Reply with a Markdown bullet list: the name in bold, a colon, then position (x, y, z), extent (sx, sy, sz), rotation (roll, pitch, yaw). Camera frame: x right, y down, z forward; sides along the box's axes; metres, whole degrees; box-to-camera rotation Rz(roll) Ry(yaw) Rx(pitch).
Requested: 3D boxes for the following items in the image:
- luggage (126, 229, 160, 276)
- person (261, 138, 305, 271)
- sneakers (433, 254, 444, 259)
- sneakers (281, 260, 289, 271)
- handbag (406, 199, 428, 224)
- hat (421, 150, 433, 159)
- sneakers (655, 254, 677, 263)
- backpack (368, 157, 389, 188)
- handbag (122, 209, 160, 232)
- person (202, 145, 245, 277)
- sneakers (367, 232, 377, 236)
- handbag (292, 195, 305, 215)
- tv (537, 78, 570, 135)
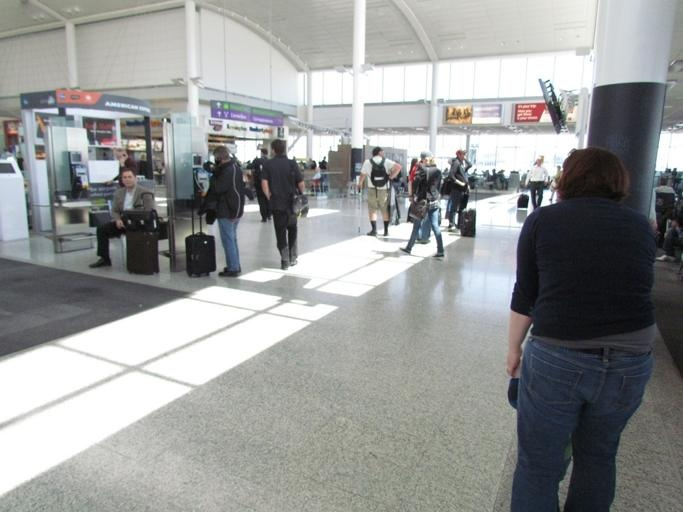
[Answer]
- **luggage**: position (-2.460, -0.043, 6.141), extent (0.546, 0.670, 0.235), rotation (1, 4, 11)
- **person**: position (-0.757, -0.647, 6.441), extent (0.551, 1.661, 0.522), rotation (3, 15, 9)
- **sneakers**: position (1.405, 0.011, 7.163), extent (0.161, 0.069, 0.120), rotation (-1, 15, -6)
- **sneakers**: position (-0.719, 0.145, 6.546), extent (0.108, 0.117, 0.103), rotation (-1, -7, 12)
- **handbag**: position (1.097, -0.634, 7.263), extent (0.204, 0.363, 0.331), rotation (-10, 18, -36)
- **hat**: position (1.248, -1.467, 7.314), extent (0.153, 0.111, 0.280), rotation (2, 15, 7)
- **sneakers**: position (3.110, 0.036, 4.762), extent (0.061, 0.074, 0.184), rotation (0, 9, 0)
- **backpack**: position (0.617, -1.396, 8.403), extent (0.414, 0.621, 0.422), rotation (-1, 1, -2)
- **handbag**: position (-2.439, -0.414, 6.108), extent (0.390, 0.265, 0.276), rotation (2, 54, 6)
- **person**: position (-1.431, -0.525, 6.066), extent (0.494, 1.569, 0.339), rotation (-3, 15, -11)
- **sneakers**: position (0.576, -0.388, 9.207), extent (0.080, 0.050, 0.136), rotation (-4, 4, -44)
- **handbag**: position (-0.515, -0.637, 6.380), extent (0.136, 0.285, 0.299), rotation (3, 15, 9)
- **tv**: position (5.729, -4.034, 13.518), extent (0.693, 1.421, 3.362), rotation (6, 15, 22)
